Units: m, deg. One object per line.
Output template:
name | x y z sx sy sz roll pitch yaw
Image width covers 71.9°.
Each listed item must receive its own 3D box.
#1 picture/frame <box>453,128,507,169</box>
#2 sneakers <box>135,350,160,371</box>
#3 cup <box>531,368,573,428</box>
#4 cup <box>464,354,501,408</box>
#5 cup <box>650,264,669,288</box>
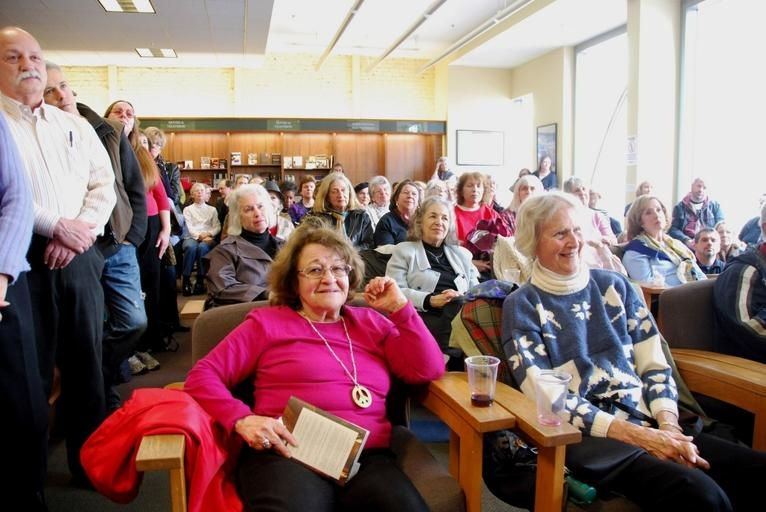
picture/frame | 2.196 -2.490 12.290 0.938 0.684 0.101 0 1 -11
sneakers | -1.954 0.855 4.377 0.200 0.057 0.131 28 20 36
cup | 0.674 0.563 2.107 0.187 0.205 0.177 0 -4 0
cup | 0.411 0.516 2.204 0.174 0.187 0.171 -2 -6 0
cup | 2.242 0.168 4.260 0.156 0.227 0.088 -4 -3 -3
